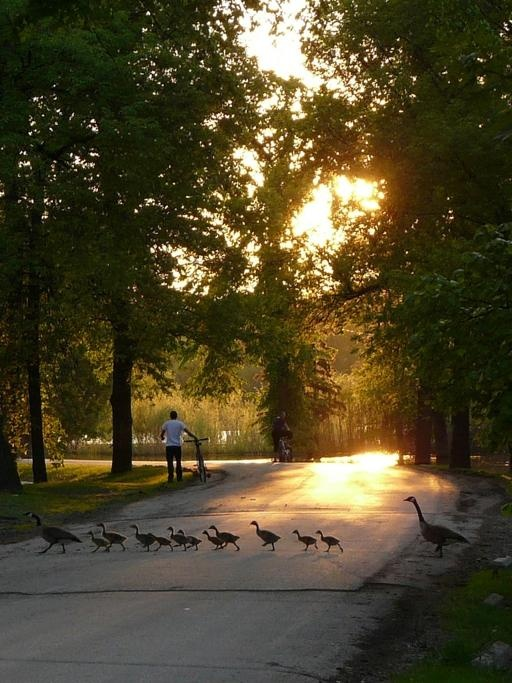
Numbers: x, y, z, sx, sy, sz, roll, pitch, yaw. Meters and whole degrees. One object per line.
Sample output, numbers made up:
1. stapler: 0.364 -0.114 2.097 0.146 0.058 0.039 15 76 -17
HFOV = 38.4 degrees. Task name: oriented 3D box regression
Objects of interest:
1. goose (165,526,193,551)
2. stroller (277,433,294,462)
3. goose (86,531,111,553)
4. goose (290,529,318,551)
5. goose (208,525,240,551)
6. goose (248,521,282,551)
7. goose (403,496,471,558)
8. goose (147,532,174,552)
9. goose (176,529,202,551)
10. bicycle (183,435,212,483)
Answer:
1. goose: -1.088 2.768 10.330 0.491 0.317 0.198 5 10 42
2. stroller: 1.305 4.786 31.984 0.748 0.776 1.315 0 -14 -9
3. goose: -2.196 2.812 10.331 0.238 0.251 0.724 -2 -7 -12
4. goose: 0.655 2.626 9.571 0.370 0.254 0.184 2 -8 -14
5. goose: -0.441 2.679 9.985 0.458 0.283 0.243 2 1 18
6. goose: 0.095 2.634 9.863 0.594 0.430 0.239 -1 4 31
7. goose: 2.197 2.255 8.921 0.780 0.693 0.243 4 -13 -3
8. goose: -1.327 2.801 10.275 0.317 0.232 0.623 -2 -7 -7
9. goose: -0.943 2.759 10.227 0.306 0.267 0.586 -2 -7 -7
10. bicycle: -1.720 3.356 21.818 0.754 0.871 1.535 -8 -4 -9
